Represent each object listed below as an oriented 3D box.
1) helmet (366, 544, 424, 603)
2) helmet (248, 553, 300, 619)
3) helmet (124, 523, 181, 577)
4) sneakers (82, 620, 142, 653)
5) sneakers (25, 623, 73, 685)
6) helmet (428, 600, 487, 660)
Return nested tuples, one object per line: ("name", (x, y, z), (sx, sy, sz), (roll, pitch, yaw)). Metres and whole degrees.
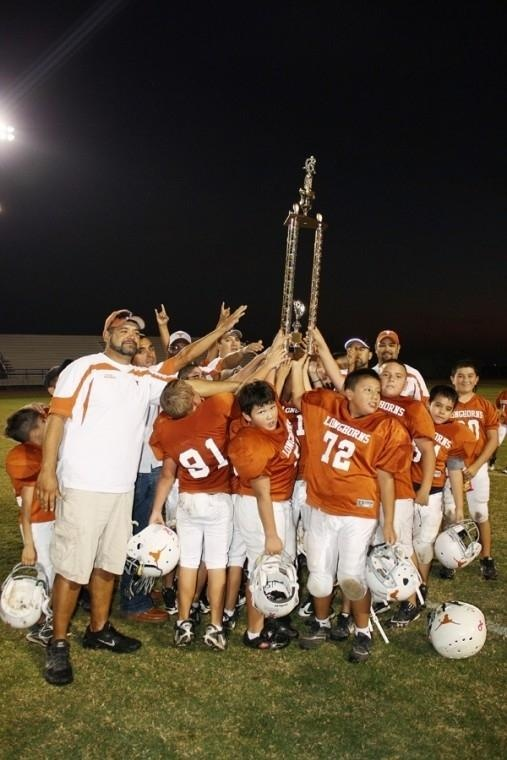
("helmet", (0.805, 1.131, 3.388), (0.300, 0.328, 0.236), (3, -8, 11))
("helmet", (0.116, 1.163, 3.302), (0.258, 0.326, 0.280), (5, -7, -1))
("helmet", (-0.595, 1.032, 3.500), (0.309, 0.294, 0.199), (5, -7, -3))
("sneakers", (-0.845, 1.556, 3.561), (0.378, 0.170, 0.141), (5, -9, 0))
("sneakers", (-1.147, 1.525, 3.360), (0.150, 0.239, 0.644), (10, -9, -32))
("helmet", (1.159, 1.453, 3.371), (0.310, 0.278, 0.228), (2, -8, 24))
